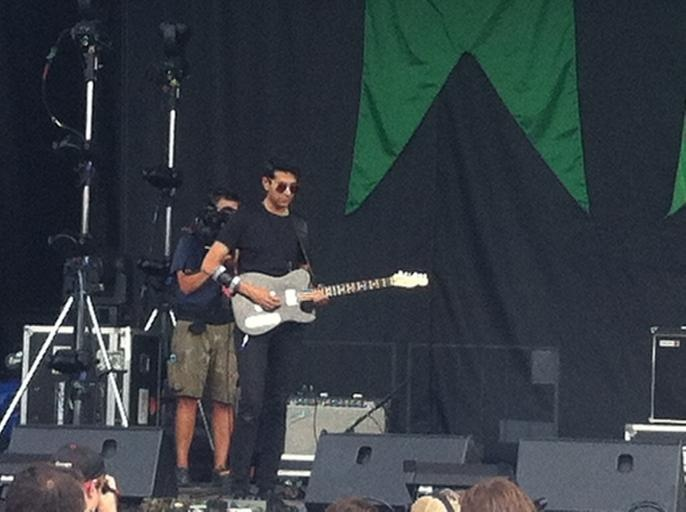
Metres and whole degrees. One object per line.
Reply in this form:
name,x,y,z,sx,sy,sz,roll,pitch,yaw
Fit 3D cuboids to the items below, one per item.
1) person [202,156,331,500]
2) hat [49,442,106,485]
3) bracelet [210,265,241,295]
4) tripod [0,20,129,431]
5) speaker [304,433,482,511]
person,-0.448,0.480,9.788,0.632,2.095,0.839,0,-10,17
hat,-1.444,1.131,8.423,0.168,0.194,0.233,14,11,43
bracelet,-0.707,0.140,9.570,0.212,0.133,0.091,44,2,4
tripod,-1.772,-0.258,10.471,0.830,3.001,1.284,5,-10,-8
speaker,0.255,1.262,9.119,0.788,0.345,0.471,1,-2,6
